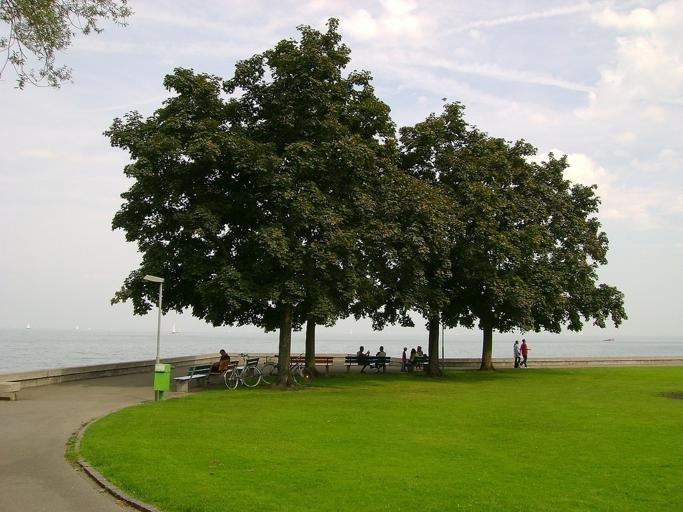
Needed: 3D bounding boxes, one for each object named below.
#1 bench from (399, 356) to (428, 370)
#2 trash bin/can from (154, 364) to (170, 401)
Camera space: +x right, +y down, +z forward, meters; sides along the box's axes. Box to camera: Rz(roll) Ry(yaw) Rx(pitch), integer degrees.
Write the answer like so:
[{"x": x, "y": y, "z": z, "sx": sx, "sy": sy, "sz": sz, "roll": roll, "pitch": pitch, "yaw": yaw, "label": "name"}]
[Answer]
[{"x": 4.350, "y": 6.353, "z": 38.925, "sx": 1.496, "sy": 0.921, "sz": 2.322, "roll": 2, "pitch": -4, "yaw": 6, "label": "bench"}, {"x": -6.085, "y": 4.299, "z": 22.499, "sx": 0.476, "sy": 1.175, "sz": 0.634, "roll": 4, "pitch": -4, "yaw": -22, "label": "trash bin/can"}]
